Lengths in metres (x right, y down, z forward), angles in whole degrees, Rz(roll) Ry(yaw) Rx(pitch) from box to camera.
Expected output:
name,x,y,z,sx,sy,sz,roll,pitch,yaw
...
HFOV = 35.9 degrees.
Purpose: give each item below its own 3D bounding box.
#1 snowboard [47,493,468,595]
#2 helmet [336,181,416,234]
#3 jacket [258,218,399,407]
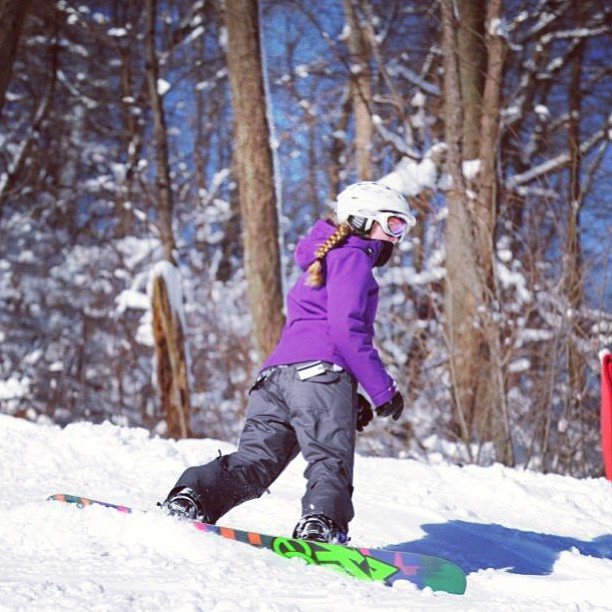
name,x,y,z,sx,sy,sz,roll,pitch,yaw
snowboard,0.155,1.214,4.466,1.182,0.222,0.106,2,-1,11
helmet,0.333,-0.541,4.944,0.384,0.326,0.314,3,3,9
jacket,0.148,0.019,4.874,0.636,0.970,0.370,1,-1,37
